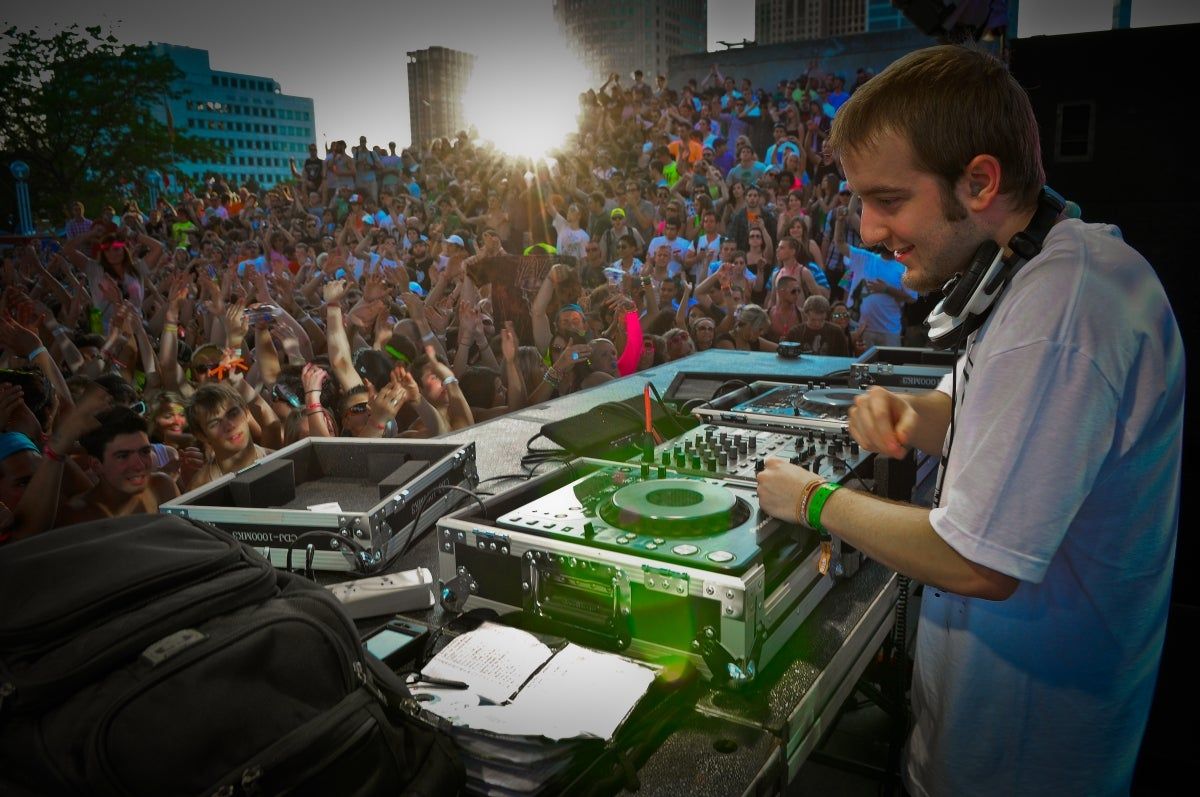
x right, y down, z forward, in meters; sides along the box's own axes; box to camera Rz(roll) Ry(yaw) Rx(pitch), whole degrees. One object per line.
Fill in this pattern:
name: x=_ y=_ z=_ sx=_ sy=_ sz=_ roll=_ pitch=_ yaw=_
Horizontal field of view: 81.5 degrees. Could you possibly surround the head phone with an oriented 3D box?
head phone: x=0.770 y=-0.258 z=1.314 sx=0.104 sy=0.302 sz=0.261 roll=41 pitch=4 yaw=16
